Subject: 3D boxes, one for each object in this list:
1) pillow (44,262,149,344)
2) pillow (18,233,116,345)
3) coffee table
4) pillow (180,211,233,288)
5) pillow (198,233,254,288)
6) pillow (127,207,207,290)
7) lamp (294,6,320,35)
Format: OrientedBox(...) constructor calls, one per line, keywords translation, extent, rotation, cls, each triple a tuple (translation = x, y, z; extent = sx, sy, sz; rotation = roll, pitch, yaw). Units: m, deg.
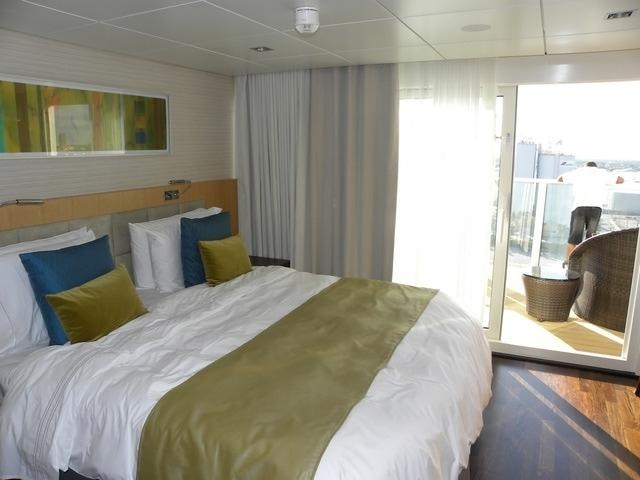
OrientedBox(translation=(-1.574, 0.453, 2.947), extent=(0.158, 0.300, 0.462), rotation=(-12, 8, 33), cls="pillow")
OrientedBox(translation=(-1.765, 0.372, 2.956), extent=(0.207, 0.579, 0.640), rotation=(6, 13, 22), cls="pillow")
OrientedBox(translation=(2.743, 0.636, 5.158), extent=(0.552, 0.499, 0.641), rotation=(0, 4, 5), cls="coffee table")
OrientedBox(translation=(-1.043, 0.118, 3.885), extent=(0.185, 0.553, 0.566), rotation=(-1, 9, 23), cls="pillow")
OrientedBox(translation=(-0.879, 0.176, 3.957), extent=(0.275, 0.369, 0.489), rotation=(7, 14, 30), cls="pillow")
OrientedBox(translation=(-1.407, 0.125, 3.827), extent=(0.167, 0.593, 0.592), rotation=(-2, -2, 40), cls="pillow")
OrientedBox(translation=(-0.089, -1.417, 2.771), extent=(0.136, 0.146, 0.142), rotation=(0, 4, 6), cls="lamp")
